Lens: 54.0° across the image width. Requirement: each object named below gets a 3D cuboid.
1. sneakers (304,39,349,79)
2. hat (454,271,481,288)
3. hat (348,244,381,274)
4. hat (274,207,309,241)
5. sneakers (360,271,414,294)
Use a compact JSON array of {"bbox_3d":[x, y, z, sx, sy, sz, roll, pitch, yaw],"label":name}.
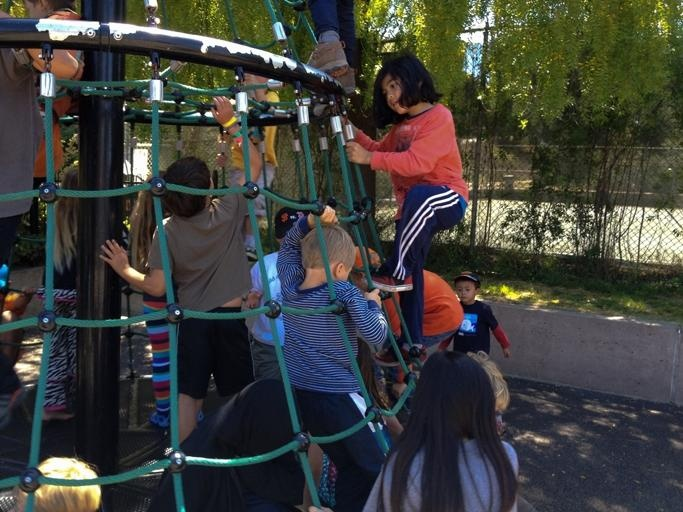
[{"bbox_3d":[-0.066,-1.136,3.829,0.144,0.204,0.374,-10,22,-35],"label":"sneakers"},{"bbox_3d":[0.995,0.181,5.243,0.148,0.086,0.220,4,-7,17],"label":"hat"},{"bbox_3d":[0.176,0.015,4.390,0.107,0.099,0.179,-12,12,-20],"label":"hat"},{"bbox_3d":[-0.430,-0.260,5.147,0.212,0.188,0.303,-18,-5,-25],"label":"hat"},{"bbox_3d":[0.279,0.176,3.783,0.280,0.136,0.117,11,-7,-25],"label":"sneakers"}]
